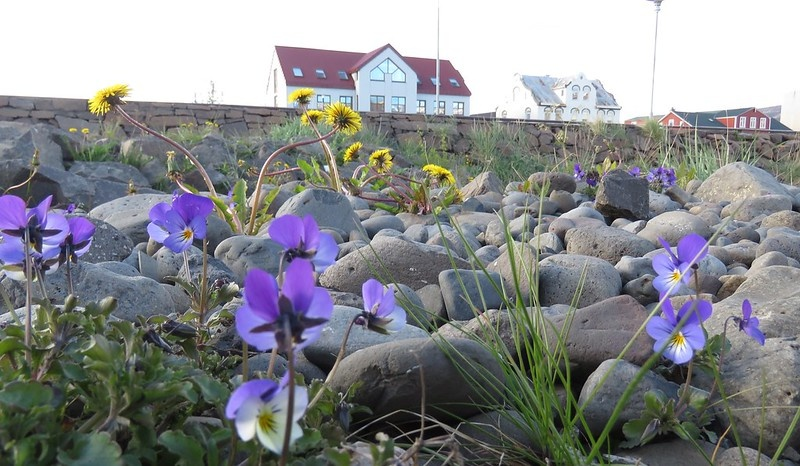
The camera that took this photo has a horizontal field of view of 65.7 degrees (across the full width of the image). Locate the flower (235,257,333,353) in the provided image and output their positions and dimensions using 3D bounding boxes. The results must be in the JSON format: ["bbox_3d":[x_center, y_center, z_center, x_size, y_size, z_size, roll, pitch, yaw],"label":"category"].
[{"bbox_3d":[-0.329,0.215,1.701,0.240,0.272,0.116,-3,-5,-5],"label":"flower"}]

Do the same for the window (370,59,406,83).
[{"bbox_3d":[-0.705,-9.362,35.825,2.124,1.279,0.231,-4,7,-25],"label":"window"}]

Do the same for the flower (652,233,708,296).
[{"bbox_3d":[1.034,0.131,2.257,0.236,0.224,0.093,48,-27,-23],"label":"flower"}]

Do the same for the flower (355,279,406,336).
[{"bbox_3d":[-0.054,0.246,2.149,0.172,0.173,0.081,46,13,14],"label":"flower"}]

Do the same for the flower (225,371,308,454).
[{"bbox_3d":[-0.381,0.509,1.809,0.220,0.223,0.081,31,-2,-12],"label":"flower"}]

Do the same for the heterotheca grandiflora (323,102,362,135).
[{"bbox_3d":[-0.495,-0.967,5.145,0.308,0.253,0.556,1,7,23],"label":"heterotheca grandiflora"}]

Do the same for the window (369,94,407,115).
[{"bbox_3d":[-0.700,-7.537,35.990,2.286,0.860,0.729,-6,8,-36],"label":"window"}]
